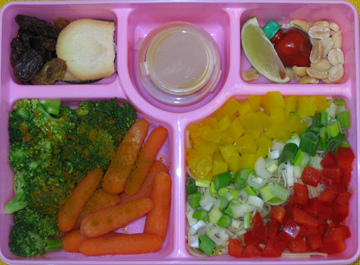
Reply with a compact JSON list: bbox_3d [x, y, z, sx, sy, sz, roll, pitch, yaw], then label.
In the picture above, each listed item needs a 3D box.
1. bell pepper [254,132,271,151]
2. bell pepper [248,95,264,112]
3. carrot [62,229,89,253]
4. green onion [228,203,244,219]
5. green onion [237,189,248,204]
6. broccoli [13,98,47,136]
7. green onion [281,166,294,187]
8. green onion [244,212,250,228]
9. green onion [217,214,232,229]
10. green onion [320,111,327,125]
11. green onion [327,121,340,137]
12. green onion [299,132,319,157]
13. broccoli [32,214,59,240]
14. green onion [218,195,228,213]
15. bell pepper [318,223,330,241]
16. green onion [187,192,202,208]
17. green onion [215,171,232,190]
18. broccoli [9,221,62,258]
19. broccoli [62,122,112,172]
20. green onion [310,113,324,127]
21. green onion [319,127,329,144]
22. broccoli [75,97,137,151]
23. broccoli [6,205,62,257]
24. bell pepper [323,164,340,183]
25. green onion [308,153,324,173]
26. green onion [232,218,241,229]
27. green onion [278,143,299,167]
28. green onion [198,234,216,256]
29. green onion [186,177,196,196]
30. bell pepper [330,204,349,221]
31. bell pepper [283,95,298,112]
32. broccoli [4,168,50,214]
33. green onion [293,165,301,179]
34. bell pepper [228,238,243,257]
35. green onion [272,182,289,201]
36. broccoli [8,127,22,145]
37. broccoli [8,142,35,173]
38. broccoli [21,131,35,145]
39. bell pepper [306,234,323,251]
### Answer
[{"bbox_3d":[0.629,0.072,2.726,0.116,0.032,0.122,-47,48,25],"label":"bell pepper"},{"bbox_3d":[0.584,-0.221,2.738,0.103,0.035,0.132,2,93,-14],"label":"bell pepper"},{"bbox_3d":[-0.813,0.852,2.771,0.165,0.102,0.161,-8,84,-4],"label":"carrot"},{"bbox_3d":[0.431,0.588,2.654,0.092,0.049,0.113,-10,103,-31],"label":"green onion"},{"bbox_3d":[0.481,0.491,2.716,0.081,0.032,0.098,0,83,24],"label":"green onion"},{"bbox_3d":[-1.157,-0.125,2.762,0.272,0.145,0.205,31,50,-14],"label":"broccoli"},{"bbox_3d":[0.819,0.335,2.698,0.025,0.112,0.131,4,87,-16],"label":"green onion"},{"bbox_3d":[0.502,0.657,2.660,0.080,0.022,0.090,-4,96,-35],"label":"green onion"},{"bbox_3d":[0.334,0.667,2.646,0.062,0.094,0.104,12,100,8],"label":"green onion"},{"bbox_3d":[1.112,-0.114,2.751,0.067,0.026,0.085,-3,90,-13],"label":"green onion"},{"bbox_3d":[1.177,-0.020,2.723,0.073,0.040,0.075,-29,94,-40],"label":"green onion"},{"bbox_3d":[0.980,0.093,2.718,0.102,0.199,0.116,4,49,1],"label":"green onion"},{"bbox_3d":[-0.993,0.698,2.644,0.147,0.057,0.171,-11,80,-30],"label":"broccoli"},{"bbox_3d":[0.323,0.533,2.646,0.063,0.033,0.104,14,64,-37],"label":"green onion"},{"bbox_3d":[1.068,0.745,2.655,0.073,0.069,0.137,27,85,-43],"label":"bell pepper"},{"bbox_3d":[0.111,0.509,2.736,0.112,0.107,0.095,-25,87,-29],"label":"green onion"},{"bbox_3d":[0.329,0.345,2.693,0.127,0.101,0.129,-24,111,-27],"label":"green onion"},{"bbox_3d":[-1.106,0.797,2.696,0.282,0.237,0.191,4,52,-24],"label":"broccoli"},{"bbox_3d":[-0.704,0.113,2.698,0.282,0.104,0.409,-6,93,-11],"label":"broccoli"},{"bbox_3d":[1.068,-0.095,2.817,0.070,0.100,0.105,23,83,-16],"label":"green onion"},{"bbox_3d":[1.109,0.022,2.738,0.039,0.091,0.147,-5,97,21],"label":"green onion"},{"bbox_3d":[-0.551,-0.077,2.740,0.343,0.117,0.422,-15,90,-11],"label":"broccoli"},{"bbox_3d":[-1.079,0.762,2.694,0.332,0.266,0.392,-1,63,0],"label":"broccoli"},{"bbox_3d":[1.126,0.308,2.638,0.116,0.067,0.136,-6,76,5],"label":"bell pepper"},{"bbox_3d":[1.042,0.240,2.737,0.095,0.026,0.122,5,77,23],"label":"green onion"},{"bbox_3d":[0.424,0.689,2.681,0.072,0.066,0.067,10,77,9],"label":"green onion"},{"bbox_3d":[0.820,0.157,2.706,0.096,0.053,0.194,18,104,24],"label":"green onion"},{"bbox_3d":[0.199,0.840,2.644,0.079,0.083,0.140,-17,52,-46],"label":"green onion"},{"bbox_3d":[0.084,0.414,2.716,0.060,0.123,0.132,-1,115,13],"label":"green onion"},{"bbox_3d":[1.180,0.616,2.715,0.114,0.191,0.115,11,73,8],"label":"bell pepper"},{"bbox_3d":[0.842,-0.222,2.716,0.091,0.117,0.133,-2,99,-7],"label":"bell pepper"},{"bbox_3d":[-1.143,0.411,2.744,0.279,0.175,0.371,27,96,6],"label":"broccoli"},{"bbox_3d":[0.894,0.303,2.715,0.049,0.077,0.083,-3,60,-5],"label":"green onion"},{"bbox_3d":[0.411,0.859,2.635,0.108,0.116,0.126,2,76,7],"label":"bell pepper"},{"bbox_3d":[0.751,0.445,2.646,0.139,0.037,0.115,25,68,-22],"label":"green onion"},{"bbox_3d":[-1.233,0.034,2.647,0.070,0.030,0.113,0,91,11],"label":"broccoli"},{"bbox_3d":[-1.178,0.176,2.645,0.173,0.058,0.219,-13,93,-3],"label":"broccoli"},{"bbox_3d":[-1.131,0.039,2.655,0.064,0.020,0.082,8,80,-16],"label":"broccoli"},{"bbox_3d":[0.982,0.810,2.636,0.103,0.107,0.116,-30,50,27],"label":"bell pepper"}]
